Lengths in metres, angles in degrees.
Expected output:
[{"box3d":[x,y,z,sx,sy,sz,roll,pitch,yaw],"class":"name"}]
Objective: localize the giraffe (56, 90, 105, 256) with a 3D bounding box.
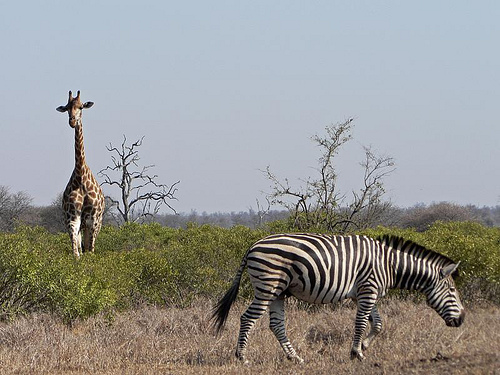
[{"box3d":[-4.300,-0.252,20.405,1.052,4.433,2.237,-4,11,-14],"class":"giraffe"}]
